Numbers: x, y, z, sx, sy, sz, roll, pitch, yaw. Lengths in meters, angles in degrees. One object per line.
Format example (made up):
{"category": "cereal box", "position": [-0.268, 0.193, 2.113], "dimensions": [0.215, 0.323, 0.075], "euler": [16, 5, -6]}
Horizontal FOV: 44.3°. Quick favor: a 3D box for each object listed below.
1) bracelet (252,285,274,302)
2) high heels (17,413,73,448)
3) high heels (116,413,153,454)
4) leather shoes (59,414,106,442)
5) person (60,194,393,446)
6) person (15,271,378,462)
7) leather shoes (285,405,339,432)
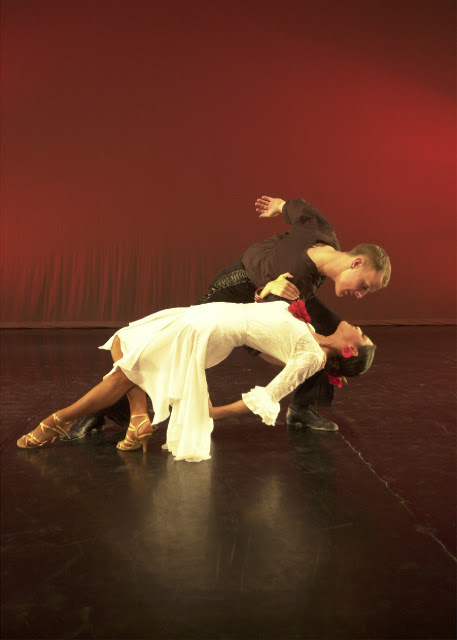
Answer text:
{"category": "bracelet", "position": [0.136, -0.099, 2.106], "dimensions": [0.052, 0.030, 0.065], "euler": [0, 20, 25]}
{"category": "high heels", "position": [-0.644, 0.394, 1.983], "dimensions": [0.155, 0.057, 0.051], "euler": [-32, 39, 3]}
{"category": "high heels", "position": [-0.307, 0.388, 1.971], "dimensions": [0.182, 0.120, 0.085], "euler": [2, 2, 42]}
{"category": "leather shoes", "position": [-0.533, 0.400, 2.104], "dimensions": [0.068, 0.067, 0.198], "euler": [2, 4, 39]}
{"category": "person", "position": [0.072, -0.191, 2.505], "dimensions": [1.175, 0.569, 0.614], "euler": [8, 29, 27]}
{"category": "person", "position": [-0.055, 0.138, 1.977], "dimensions": [1.139, 0.380, 0.598], "euler": [-5, 22, -13]}
{"category": "leather shoes", "position": [0.330, 0.405, 2.313], "dimensions": [0.240, 0.085, 0.079], "euler": [0, 5, 24]}
